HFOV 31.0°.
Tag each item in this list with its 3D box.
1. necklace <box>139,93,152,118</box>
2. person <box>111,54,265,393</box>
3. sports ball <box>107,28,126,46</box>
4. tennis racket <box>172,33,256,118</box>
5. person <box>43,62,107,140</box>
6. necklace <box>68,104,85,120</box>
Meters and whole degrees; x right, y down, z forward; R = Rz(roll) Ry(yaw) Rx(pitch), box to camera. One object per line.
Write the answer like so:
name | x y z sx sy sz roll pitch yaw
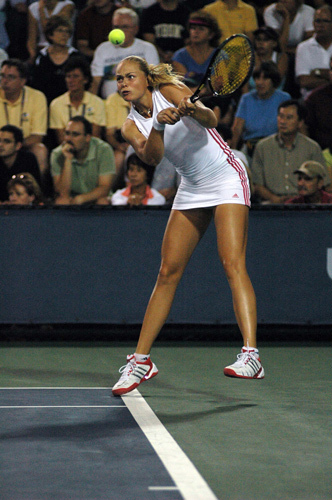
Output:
necklace | -0.108 -0.789 3.258 0.087 0.126 0.028 17 23 37
person | 0.125 -0.030 3.317 0.846 1.980 0.733 1 19 -6
sports ball | -0.472 -2.046 5.716 0.127 0.134 0.304 2 16 -3
tennis racket | 0.343 -1.001 3.237 0.133 0.325 0.393 -9 21 -33
person | -1.213 -1.947 7.937 0.862 1.032 0.743 -2 22 9
necklace | -1.230 -1.843 7.971 0.300 0.243 0.056 0 5 8
